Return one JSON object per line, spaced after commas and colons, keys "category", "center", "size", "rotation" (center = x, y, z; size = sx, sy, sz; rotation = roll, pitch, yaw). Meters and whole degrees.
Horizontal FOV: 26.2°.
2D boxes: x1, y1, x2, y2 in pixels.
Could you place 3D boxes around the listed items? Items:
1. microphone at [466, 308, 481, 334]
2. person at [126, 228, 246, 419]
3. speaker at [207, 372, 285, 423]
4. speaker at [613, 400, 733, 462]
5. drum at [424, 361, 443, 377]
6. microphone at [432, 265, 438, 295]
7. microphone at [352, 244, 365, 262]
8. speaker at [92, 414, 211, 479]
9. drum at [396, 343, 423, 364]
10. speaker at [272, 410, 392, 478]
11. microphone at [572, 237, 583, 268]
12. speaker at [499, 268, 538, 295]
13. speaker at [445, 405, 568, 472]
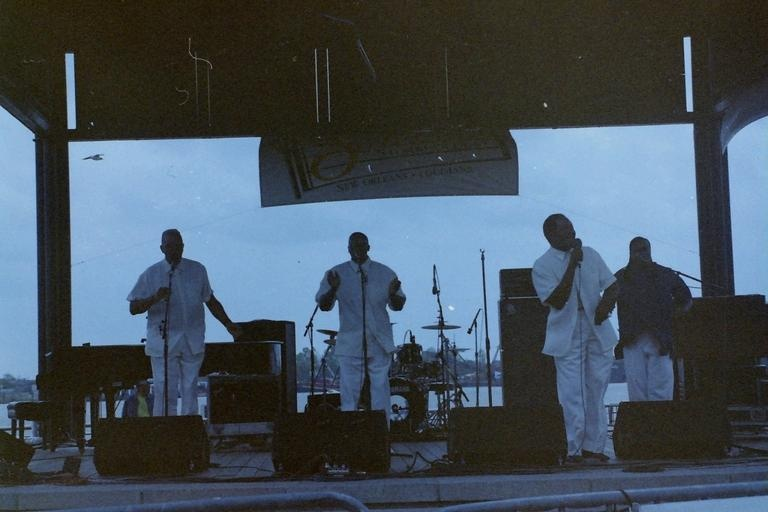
{"category": "microphone", "center": [1.162, 0.810, 21.172], "size": [0.232, 0.309, 0.058], "rotation": [-11, -12, 43]}
{"category": "person", "center": [-2.455, 0.781, 19.664], "size": [1.099, 2.178, 0.647], "rotation": [4, -11, -35]}
{"category": "speaker", "center": [-1.741, 1.706, 20.929], "size": [1.104, 0.689, 0.583], "rotation": [-1, 1, -5]}
{"category": "speaker", "center": [3.253, 1.943, 18.669], "size": [1.316, 0.662, 0.393], "rotation": [-3, -9, 7]}
{"category": "drum", "center": [0.634, 1.423, 21.196], "size": [0.217, 0.211, 0.083], "rotation": [4, -11, -34]}
{"category": "microphone", "center": [0.658, 0.275, 21.053], "size": [0.088, 0.381, 0.065], "rotation": [4, -11, -33]}
{"category": "microphone", "center": [-0.281, -0.057, 19.405], "size": [0.162, 0.177, 0.184], "rotation": [-3, -12, 1]}
{"category": "speaker", "center": [-2.630, 2.128, 18.709], "size": [1.258, 0.652, 0.311], "rotation": [-1, -9, -10]}
{"category": "drum", "center": [0.337, 1.251, 21.283], "size": [0.273, 0.188, 0.270], "rotation": [0, -10, 0]}
{"category": "speaker", "center": [-0.596, 2.075, 18.251], "size": [1.069, 0.795, 0.708], "rotation": [1, 7, 0]}
{"category": "microphone", "center": [2.216, -0.048, 18.969], "size": [0.150, 0.332, 0.251], "rotation": [-3, -9, 8]}
{"category": "speaker", "center": [1.686, 0.296, 20.403], "size": [0.511, 0.336, 0.132], "rotation": [-1, 0, 7]}
{"category": "speaker", "center": [1.390, 2.006, 18.608], "size": [1.310, 0.674, 0.271], "rotation": [-3, -9, 5]}
